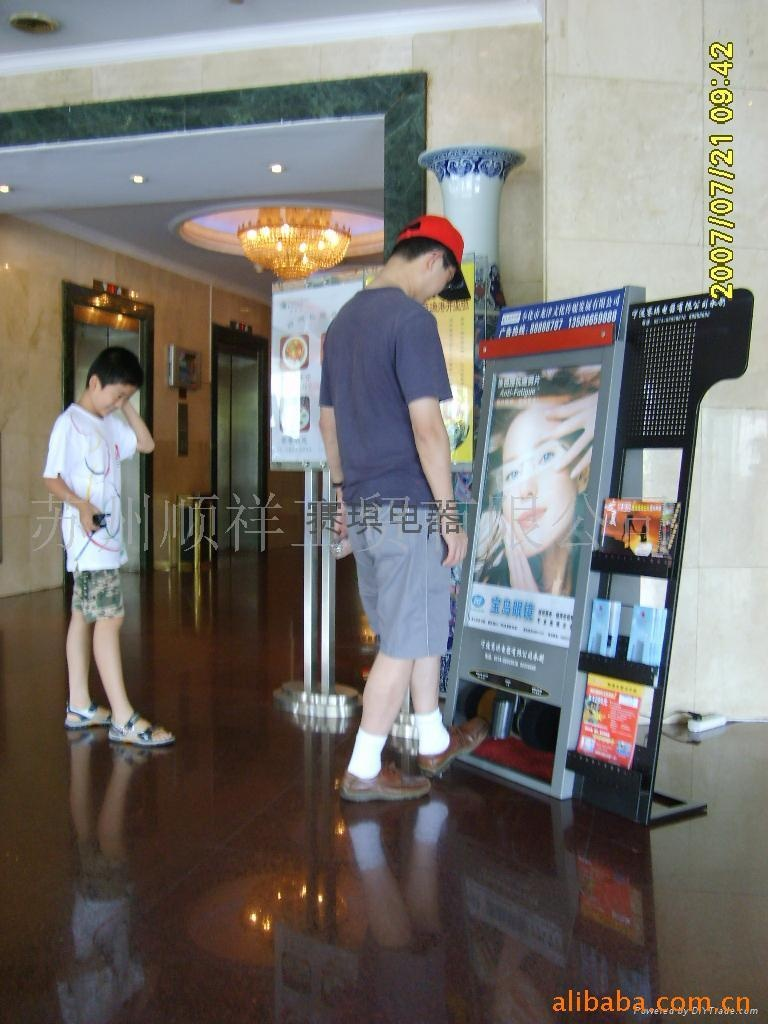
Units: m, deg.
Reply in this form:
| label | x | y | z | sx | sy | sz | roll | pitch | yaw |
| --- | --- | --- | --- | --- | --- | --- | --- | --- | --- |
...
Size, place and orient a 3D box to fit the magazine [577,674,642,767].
| label | x | y | z | sx | sy | sz | roll | pitch | yaw |
| --- | --- | --- | --- | --- | --- | --- | --- | --- | --- |
| magazine | 0.616 | 0.566 | 2.237 | 0.075 | 0.259 | 0.139 | 1 | 4 | -31 |

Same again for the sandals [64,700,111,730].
| label | x | y | z | sx | sy | sz | roll | pitch | yaw |
| --- | --- | --- | --- | --- | --- | --- | --- | --- | --- |
| sandals | -1.090 | 0.729 | 3.044 | 0.186 | 0.120 | 0.103 | -3 | 4 | -38 |

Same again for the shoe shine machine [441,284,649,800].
| label | x | y | z | sx | sy | sz | roll | pitch | yaw |
| --- | --- | --- | --- | --- | --- | --- | --- | --- | --- |
| shoe shine machine | 0.492 | 0.135 | 2.449 | 0.147 | 1.610 | 0.651 | 0 | 2 | -15 |

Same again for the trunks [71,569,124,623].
| label | x | y | z | sx | sy | sz | roll | pitch | yaw |
| --- | --- | --- | --- | --- | --- | --- | --- | --- | --- |
| trunks | -0.995 | 0.290 | 2.838 | 0.163 | 0.192 | 0.176 | 0 | 1 | -20 |

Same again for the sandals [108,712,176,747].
| label | x | y | z | sx | sy | sz | roll | pitch | yaw |
| --- | --- | --- | --- | --- | --- | --- | --- | --- | --- |
| sandals | -0.838 | 0.753 | 2.841 | 0.179 | 0.136 | 0.115 | 0 | -1 | 2 |

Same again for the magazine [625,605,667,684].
| label | x | y | z | sx | sy | sz | roll | pitch | yaw |
| --- | --- | --- | --- | --- | --- | --- | --- | --- | --- |
| magazine | 0.691 | 0.322 | 2.173 | 0.090 | 0.182 | 0.016 | 9 | 29 | 23 |

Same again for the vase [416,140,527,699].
| label | x | y | z | sx | sy | sz | roll | pitch | yaw |
| --- | --- | --- | --- | --- | --- | --- | --- | --- | --- |
| vase | 0.367 | -0.353 | 3.119 | 0.297 | 1.996 | 0.320 | -1 | 4 | 32 |

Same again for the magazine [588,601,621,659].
| label | x | y | z | sx | sy | sz | roll | pitch | yaw |
| --- | --- | --- | --- | --- | --- | --- | --- | --- | --- |
| magazine | 0.614 | 0.321 | 2.279 | 0.028 | 0.165 | 0.088 | 5 | -1 | -27 |

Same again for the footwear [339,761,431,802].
| label | x | y | z | sx | sy | sz | roll | pitch | yaw |
| --- | --- | --- | --- | --- | --- | --- | --- | --- | --- |
| footwear | 0.001 | 0.728 | 2.341 | 0.245 | 0.164 | 0.114 | 0 | -7 | -14 |
